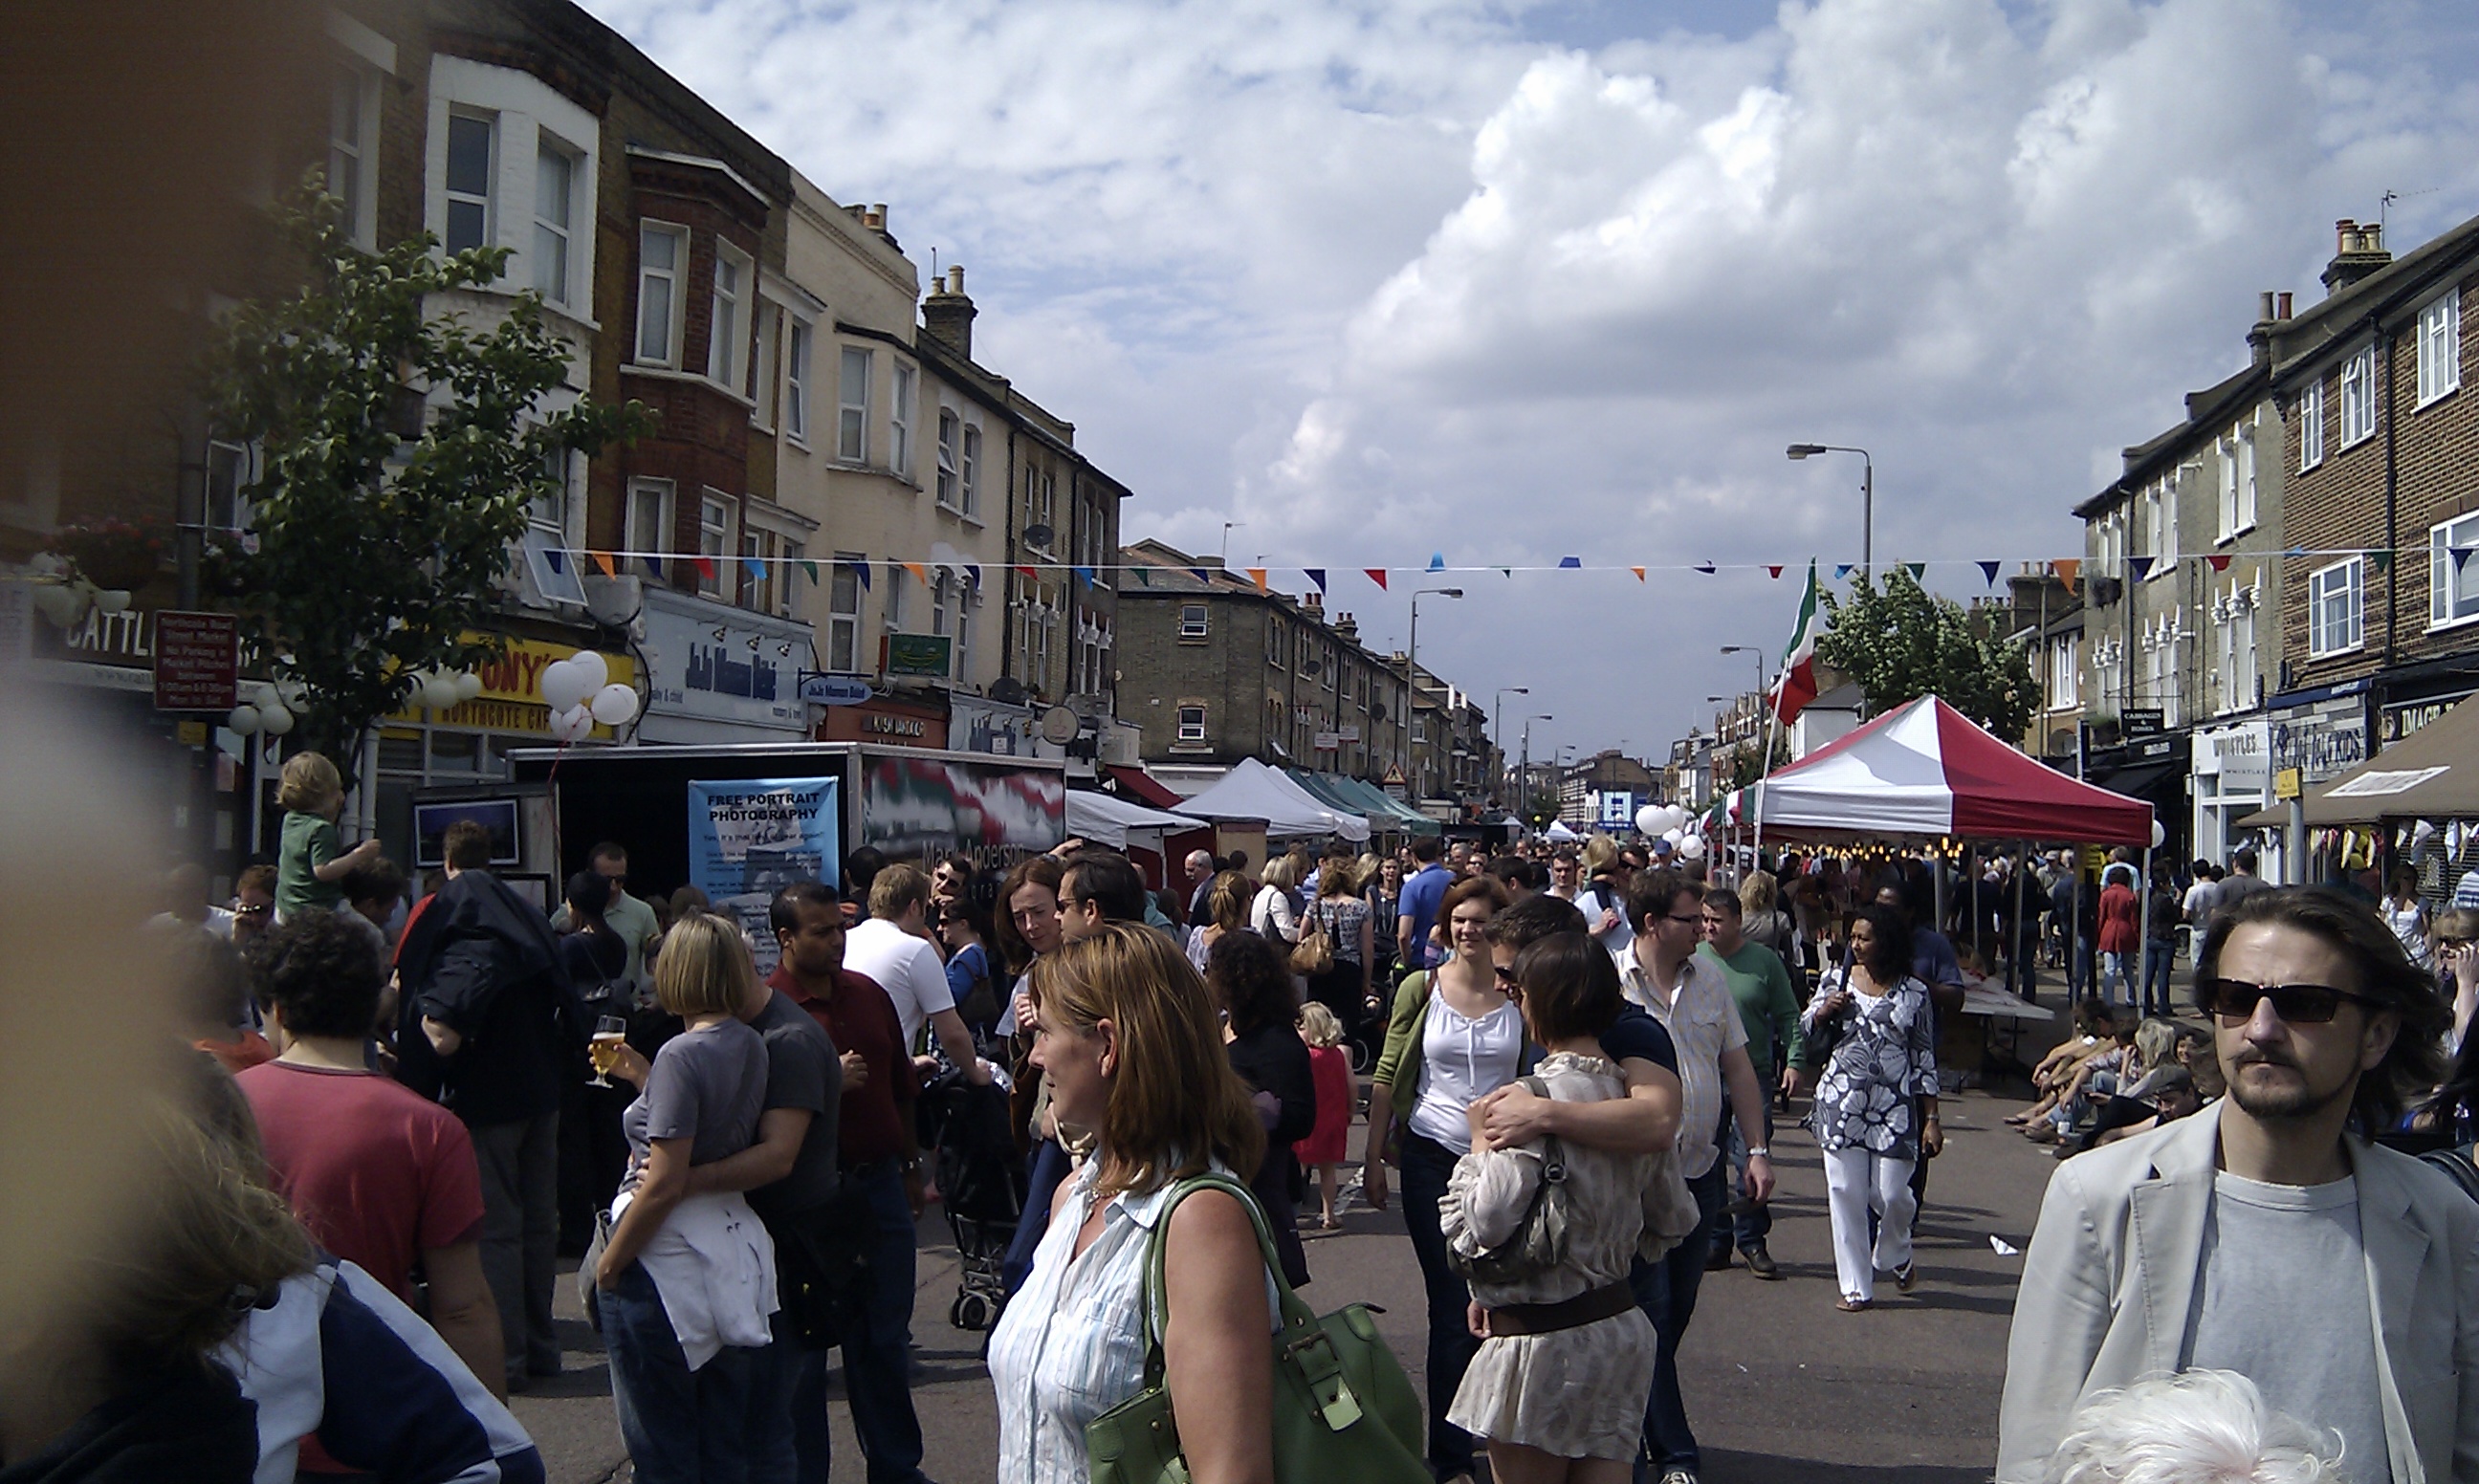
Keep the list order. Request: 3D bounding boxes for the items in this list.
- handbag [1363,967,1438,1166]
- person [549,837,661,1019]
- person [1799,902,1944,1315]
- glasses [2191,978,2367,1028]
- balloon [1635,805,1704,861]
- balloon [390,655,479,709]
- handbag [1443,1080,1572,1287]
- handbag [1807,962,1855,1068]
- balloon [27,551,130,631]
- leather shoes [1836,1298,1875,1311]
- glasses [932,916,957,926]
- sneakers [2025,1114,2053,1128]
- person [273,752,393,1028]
[{"bbox_3d":[0.613,1.316,9.496,0.432,0.627,0.214,-2,11,-35],"label":"handbag"},{"bbox_3d":[-3.385,1.007,12.546,0.558,1.395,0.436,-3,22,-14],"label":"person"},{"bbox_3d":[3.074,1.787,11.621,0.528,1.973,0.860,-4,-7,44],"label":"person"},{"bbox_3d":[2.705,0.674,6.101,0.380,0.123,0.141,-3,-6,29],"label":"glasses"},{"bbox_3d":[6.308,1.366,34.677,0.767,0.316,0.800,12,-10,0],"label":"balloon"},{"bbox_3d":[-5.653,-0.377,16.607,0.556,0.257,0.556,-1,-2,-43],"label":"balloon"},{"bbox_3d":[0.850,1.525,7.568,0.393,0.449,0.166,0,-5,5],"label":"handbag"},{"bbox_3d":[2.873,1.360,11.628,0.126,0.419,0.300,23,-4,-10],"label":"handbag"},{"bbox_3d":[-2.114,-0.269,4.257,0.126,0.053,0.127,-26,-22,16],"label":"balloon"},{"bbox_3d":[2.993,2.724,11.450,0.163,0.075,0.180,-1,-6,11],"label":"leather shoes"},{"bbox_3d":[-1.653,1.007,13.191,0.116,0.038,0.121,0,-3,2],"label":"glasses"},{"bbox_3d":[5.276,2.516,15.495,0.147,0.108,0.085,11,-15,-7],"label":"sneakers"},{"bbox_3d":[-4.541,0.827,11.682,0.405,1.545,0.506,-5,17,-37],"label":"person"}]
